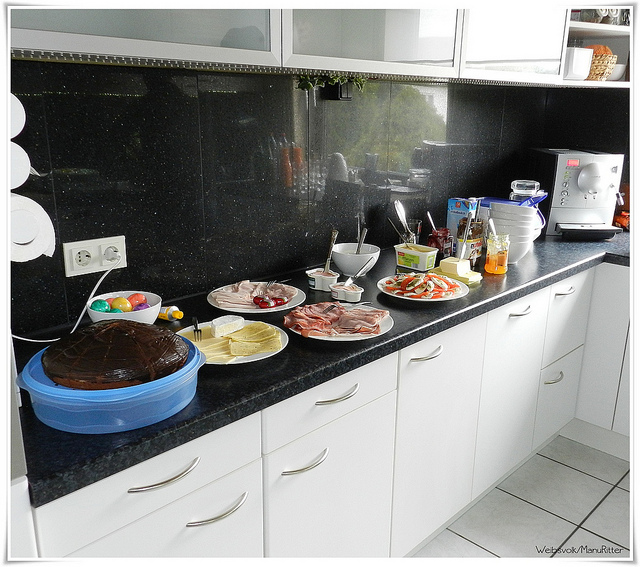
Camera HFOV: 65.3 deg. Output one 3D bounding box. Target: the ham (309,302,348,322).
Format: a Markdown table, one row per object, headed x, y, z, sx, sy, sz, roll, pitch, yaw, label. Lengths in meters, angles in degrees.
| x | y | z | sx | sy | sz | roll | pitch | yaw | label |
| --- | --- | --- | --- | --- | --- | --- | --- | --- | --- |
| 0.024 | 0.081 | 1.521 | 0.065 | 0.021 | 0.065 | 17 | 26 | 30 | ham |

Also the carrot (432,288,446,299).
| x | y | z | sx | sy | sz | roll | pitch | yaw | label |
| --- | --- | --- | --- | --- | --- | --- | --- | --- | --- |
| 0.410 | 0.034 | 1.720 | 0.032 | 0.010 | 0.034 | -29 | 22 | 21 | carrot |

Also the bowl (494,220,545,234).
| x | y | z | sx | sy | sz | roll | pitch | yaw | label |
| --- | --- | --- | --- | --- | --- | --- | --- | --- | --- |
| 0.840 | -0.243 | 2.138 | 0.154 | 0.053 | 0.130 | 8 | 11 | 29 | bowl |

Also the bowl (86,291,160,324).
| x | y | z | sx | sy | sz | roll | pitch | yaw | label |
| --- | --- | --- | --- | --- | --- | --- | --- | --- | --- |
| -0.519 | 0.040 | 1.344 | 0.125 | 0.059 | 0.120 | 2 | 9 | 0 | bowl |

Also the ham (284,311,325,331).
| x | y | z | sx | sy | sz | roll | pitch | yaw | label |
| --- | --- | --- | --- | --- | --- | --- | --- | --- | --- |
| -0.050 | 0.110 | 1.443 | 0.076 | 0.022 | 0.058 | 7 | 22 | 17 | ham |

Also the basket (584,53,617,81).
| x | y | z | sx | sy | sz | roll | pitch | yaw | label |
| --- | --- | --- | --- | --- | --- | --- | --- | --- | --- |
| 1.374 | -1.049 | 2.457 | 0.140 | 0.093 | 0.139 | -2 | 16 | -8 | basket |

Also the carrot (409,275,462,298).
| x | y | z | sx | sy | sz | roll | pitch | yaw | label |
| --- | --- | --- | --- | --- | --- | --- | --- | --- | --- |
| 0.405 | 0.012 | 1.741 | 0.083 | 0.041 | 0.201 | 16 | 25 | 41 | carrot |

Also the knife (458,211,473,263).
| x | y | z | sx | sy | sz | roll | pitch | yaw | label |
| --- | --- | --- | --- | --- | --- | --- | --- | --- | --- |
| 0.594 | -0.184 | 2.044 | 0.036 | 0.255 | 0.013 | 21 | -14 | -13 | knife |

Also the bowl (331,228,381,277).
| x | y | z | sx | sy | sz | roll | pitch | yaw | label |
| --- | --- | --- | --- | --- | --- | --- | --- | --- | --- |
| 0.137 | -0.123 | 1.966 | 0.140 | 0.107 | 0.227 | 5 | 17 | 13 | bowl |

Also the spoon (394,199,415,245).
| x | y | z | sx | sy | sz | roll | pitch | yaw | label |
| --- | --- | --- | --- | --- | --- | --- | --- | --- | --- |
| 0.370 | -0.260 | 2.238 | 0.061 | 0.266 | 0.039 | -12 | 30 | -14 | spoon |

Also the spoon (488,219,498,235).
| x | y | z | sx | sy | sz | roll | pitch | yaw | label |
| --- | --- | --- | --- | --- | --- | --- | --- | --- | --- |
| 0.731 | -0.241 | 2.116 | 0.020 | 0.084 | 0.023 | -14 | -13 | -12 | spoon |

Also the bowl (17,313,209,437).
| x | y | z | sx | sy | sz | roll | pitch | yaw | label |
| --- | --- | --- | --- | --- | --- | --- | --- | --- | --- |
| -0.419 | 0.185 | 1.030 | 0.355 | 0.165 | 0.229 | -5 | 19 | -14 | bowl |

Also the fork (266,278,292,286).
| x | y | z | sx | sy | sz | roll | pitch | yaw | label |
| --- | --- | --- | --- | --- | --- | --- | --- | --- | --- |
| -0.152 | -0.005 | 1.825 | 0.018 | 0.020 | 0.173 | 20 | 10 | 21 | fork |
